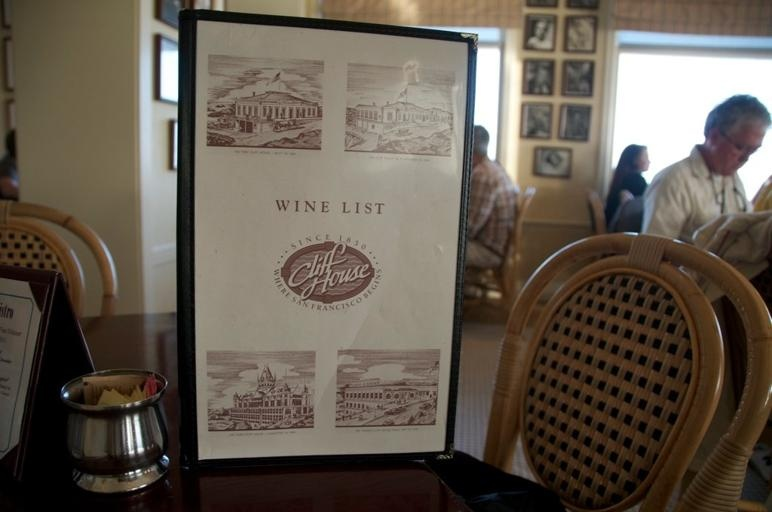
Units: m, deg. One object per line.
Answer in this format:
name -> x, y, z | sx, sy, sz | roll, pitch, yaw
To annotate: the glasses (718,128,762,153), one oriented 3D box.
glasses -> 1.448, -0.457, 2.610 | 0.097, 0.054, 0.120 | 22, 20, -24
